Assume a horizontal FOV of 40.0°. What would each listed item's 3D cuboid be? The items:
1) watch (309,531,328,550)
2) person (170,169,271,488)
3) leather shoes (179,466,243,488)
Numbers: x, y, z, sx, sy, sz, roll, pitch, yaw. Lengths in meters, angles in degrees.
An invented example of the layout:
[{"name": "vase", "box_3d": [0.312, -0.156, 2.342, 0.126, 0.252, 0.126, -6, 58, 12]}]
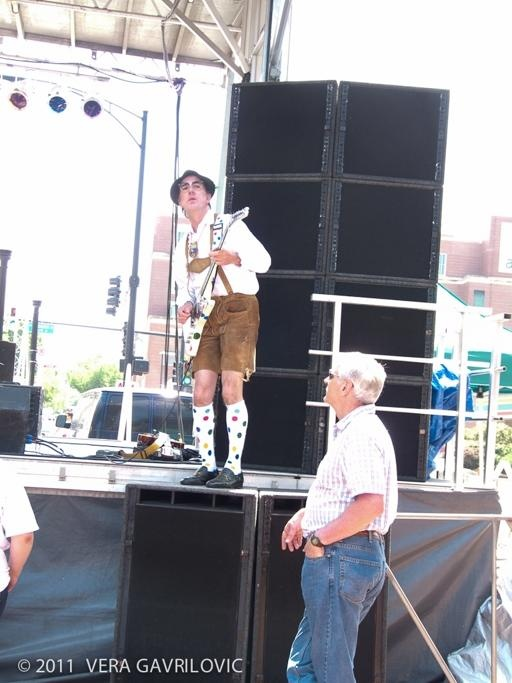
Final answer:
[{"name": "watch", "box_3d": [0.199, 0.643, 2.293, 0.051, 0.023, 0.053, 19, 18, -49]}, {"name": "person", "box_3d": [-0.200, -0.099, 3.745, 0.486, 1.682, 0.776, 3, 0, -13]}, {"name": "leather shoes", "box_3d": [-0.215, 0.685, 3.512, 0.231, 0.088, 0.133, 3, -11, -2]}]
